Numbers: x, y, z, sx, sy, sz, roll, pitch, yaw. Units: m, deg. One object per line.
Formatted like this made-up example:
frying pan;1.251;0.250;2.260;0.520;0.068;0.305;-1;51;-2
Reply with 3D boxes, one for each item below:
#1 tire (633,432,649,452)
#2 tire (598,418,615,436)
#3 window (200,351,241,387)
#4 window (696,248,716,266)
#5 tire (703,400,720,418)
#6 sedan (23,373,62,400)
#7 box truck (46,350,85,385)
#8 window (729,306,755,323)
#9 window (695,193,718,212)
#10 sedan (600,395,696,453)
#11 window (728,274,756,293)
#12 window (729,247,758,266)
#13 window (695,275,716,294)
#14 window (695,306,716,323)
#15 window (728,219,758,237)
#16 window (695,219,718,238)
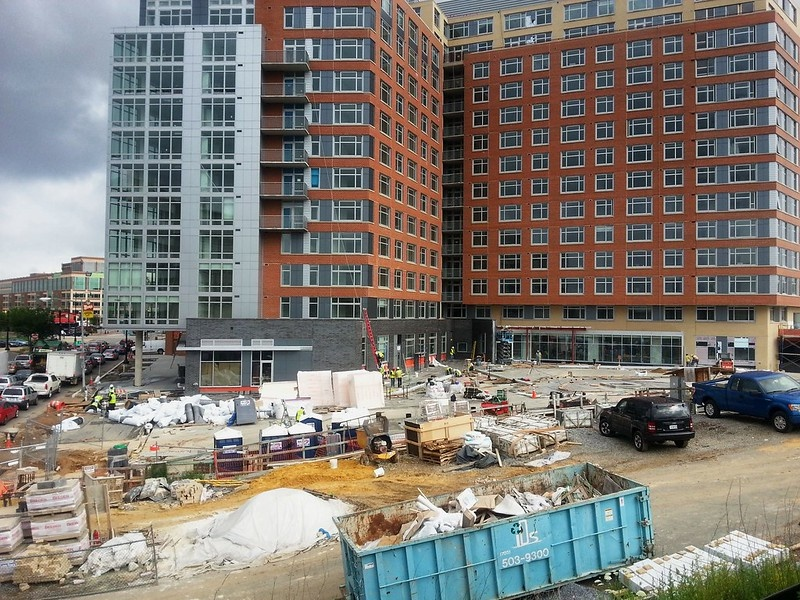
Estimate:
tire;11.639;6.843;32.497;0.665;0.964;0.653;-5;-5;22
tire;10.742;6.586;34.823;0.376;0.930;1.002;-5;10;-35
window;-14.553;5.652;53.878;3.319;2.759;0.239;1;-2;-8
window;30.241;-4.126;66.236;1.721;1.784;0.211;-4;-4;15
tire;17.085;5.963;36.730;0.363;0.895;0.959;-7;-6;-26
sedan;-27.502;6.579;52.208;1.486;0.945;2.814;1;4;-1
box truck;-28.908;5.856;58.343;2.884;2.897;4.925;-1;-4;-14
window;33.305;1.415;65.215;1.848;1.146;0.144;-2;2;27
window;30.444;-9.639;66.586;2.075;1.953;0.152;-2;-11;29
sedan;12.042;6.096;33.135;1.680;2.515;4.005;0;-5;-32
window;33.138;-1.570;64.869;2.039;1.302;0.089;-2;-10;32
window;33.397;-4.202;65.067;2.078;1.318;0.078;-1;-8;31
window;30.115;-1.446;66.052;2.081;1.917;0.141;-2;-10;27
window;30.302;1.430;66.432;1.836;1.529;0.227;-1;2;27
window;33.431;-6.950;65.282;2.113;1.318;0.087;-1;-6;27
window;30.350;-6.979;66.409;2.171;1.906;0.153;-2;1;16
